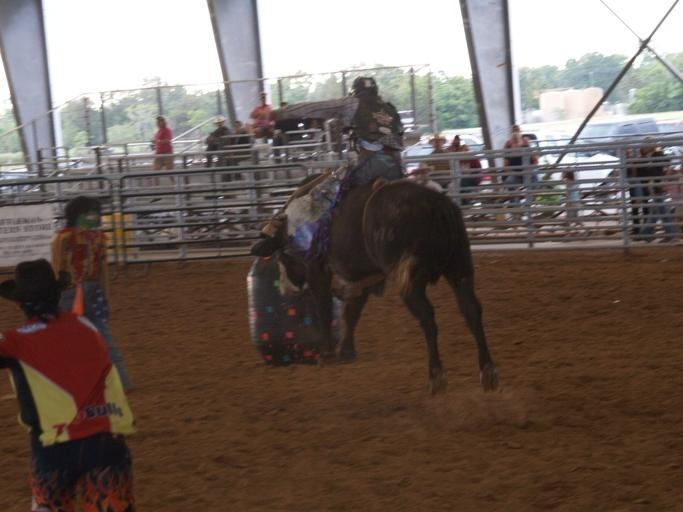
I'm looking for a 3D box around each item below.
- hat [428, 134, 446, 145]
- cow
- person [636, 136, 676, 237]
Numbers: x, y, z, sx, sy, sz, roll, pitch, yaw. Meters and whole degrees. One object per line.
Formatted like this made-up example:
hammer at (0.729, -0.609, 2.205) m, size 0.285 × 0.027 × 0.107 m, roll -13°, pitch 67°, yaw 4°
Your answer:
hat at (1.607, -1.980, 11.782) m, size 0.257 × 0.187 × 0.545 m, roll -4°, pitch 7°, yaw 15°
cow at (0.307, 0.192, 6.076) m, size 1.857 × 1.910 × 0.664 m, roll 2°, pitch 15°, yaw 42°
person at (4.553, -0.927, 10.045) m, size 0.434 × 1.454 × 0.705 m, roll -4°, pitch 11°, yaw 23°
